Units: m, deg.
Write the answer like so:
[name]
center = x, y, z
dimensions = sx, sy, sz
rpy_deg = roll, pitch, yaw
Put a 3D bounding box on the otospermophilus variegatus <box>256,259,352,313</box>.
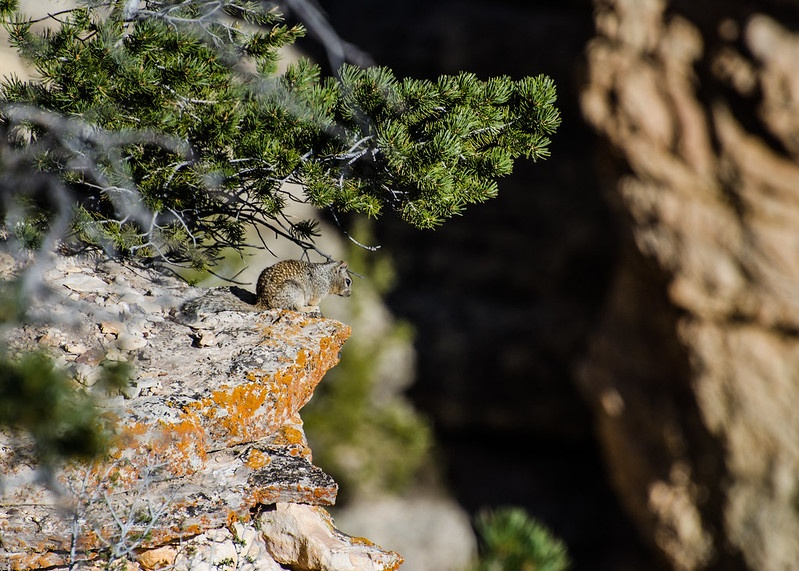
[otospermophilus variegatus]
center = -1.060, -0.036, 16.266
dimensions = 1.177, 0.648, 0.426
rpy_deg = -6, 10, -41
